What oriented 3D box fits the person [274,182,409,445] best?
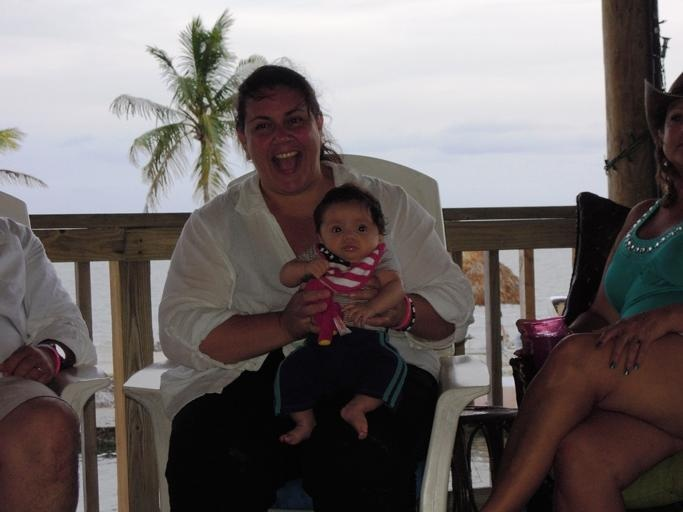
[{"bbox_3d":[-0.017,0.212,3.588,0.537,0.940,0.461,-4,1,-6],"label":"person"}]

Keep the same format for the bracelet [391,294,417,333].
[{"bbox_3d":[0.251,0.233,3.676,0.057,0.129,0.105,1,-18,0],"label":"bracelet"}]

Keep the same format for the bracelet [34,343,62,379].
[{"bbox_3d":[-1.229,0.440,3.791,0.108,0.122,0.044,2,-21,-44],"label":"bracelet"}]

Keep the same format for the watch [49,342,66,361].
[{"bbox_3d":[-1.194,0.400,3.798,0.052,0.091,0.032,-12,-2,-38],"label":"watch"}]
